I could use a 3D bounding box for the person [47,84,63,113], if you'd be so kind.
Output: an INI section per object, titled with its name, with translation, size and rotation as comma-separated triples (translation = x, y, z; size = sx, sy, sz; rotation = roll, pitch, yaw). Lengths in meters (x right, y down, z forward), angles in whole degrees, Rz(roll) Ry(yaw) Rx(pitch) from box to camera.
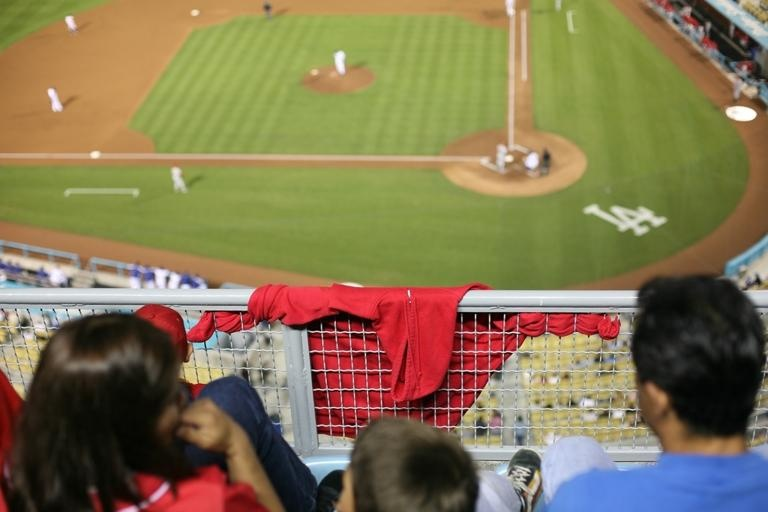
[person]
translation = -15.383, -7.298, 53.043
size = 0.747, 0.556, 1.383
rotation = -10, -27, -10
